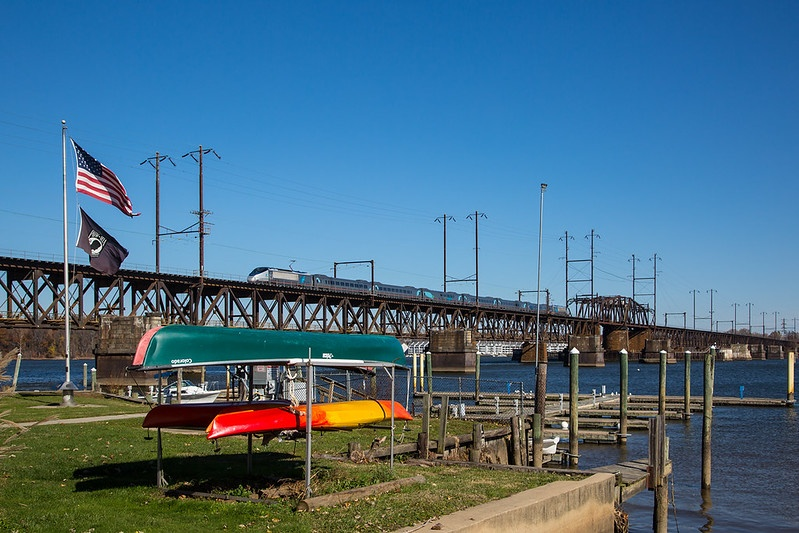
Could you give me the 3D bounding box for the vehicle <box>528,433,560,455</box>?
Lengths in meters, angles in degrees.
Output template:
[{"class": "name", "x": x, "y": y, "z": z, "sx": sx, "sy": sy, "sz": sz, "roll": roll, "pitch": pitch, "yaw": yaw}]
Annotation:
[{"class": "vehicle", "x": 7.583, "y": 9.134, "z": 49.368, "sx": 0.829, "sy": 0.874, "sz": 2.673, "roll": 2, "pitch": 0, "yaw": 12}]
